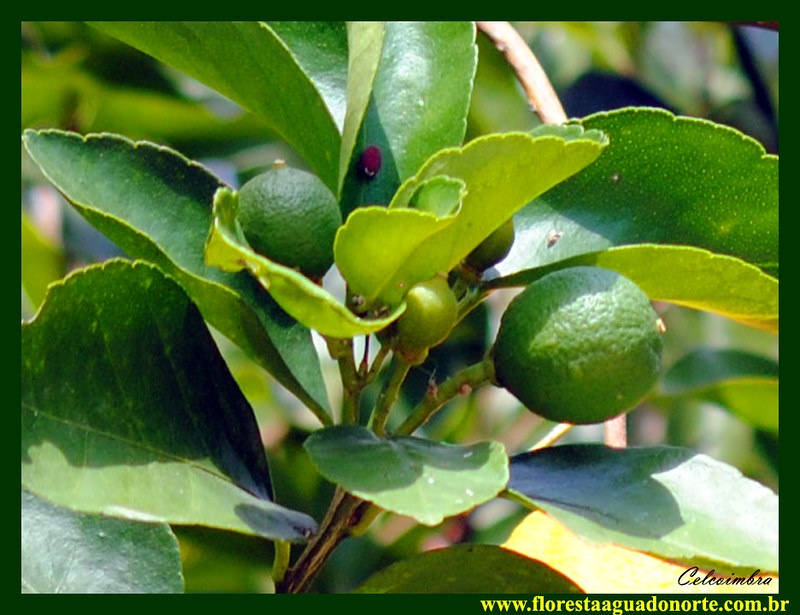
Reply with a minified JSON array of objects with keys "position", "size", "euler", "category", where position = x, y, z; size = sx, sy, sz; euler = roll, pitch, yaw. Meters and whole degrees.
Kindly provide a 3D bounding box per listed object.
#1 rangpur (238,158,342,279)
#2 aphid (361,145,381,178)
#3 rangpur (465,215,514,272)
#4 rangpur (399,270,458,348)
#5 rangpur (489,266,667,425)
[{"position":[-0.185,-0.146,1.942],"size":[0.174,0.088,0.156],"euler":[19,79,9],"category":"rangpur"},{"position":[-0.052,-0.257,2.075],"size":[0.037,0.030,0.053],"euler":[5,80,-27],"category":"aphid"},{"position":[0.146,-0.116,2.034],"size":[0.088,0.072,0.034],"euler":[-51,42,16],"category":"rangpur"},{"position":[0.044,0.013,1.910],"size":[0.081,0.116,0.092],"euler":[-8,32,-33],"category":"rangpur"},{"position":[0.285,0.064,1.985],"size":[0.318,0.274,0.269],"euler":[-7,18,7],"category":"rangpur"}]
